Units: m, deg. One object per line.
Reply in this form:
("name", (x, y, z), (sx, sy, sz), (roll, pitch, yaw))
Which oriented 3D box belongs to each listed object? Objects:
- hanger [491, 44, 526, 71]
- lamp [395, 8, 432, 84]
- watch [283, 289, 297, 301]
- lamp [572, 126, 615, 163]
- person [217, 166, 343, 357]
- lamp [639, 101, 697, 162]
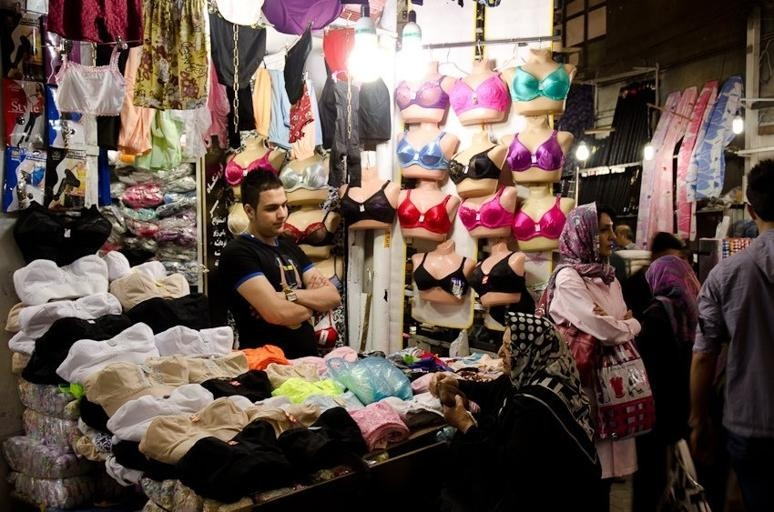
("hanger", (1.122, -1.797, 5.154), (0.040, 0.239, 0.342), (-1, 8, -41))
("lamp", (0.258, -1.963, 5.185), (0.292, 0.707, 0.778), (2, 8, 1))
("watch", (-0.657, 0.267, 3.892), (0.062, 0.087, 0.093), (-8, -15, -9))
("lamp", (1.921, -1.022, 5.259), (0.348, 0.340, 0.194), (7, 9, 31))
("person", (-0.763, 0.060, 4.004), (0.701, 1.324, 0.503), (-4, 10, -40))
("lamp", (2.375, -1.059, 4.837), (0.327, 0.528, 0.164), (3, 7, 9))
